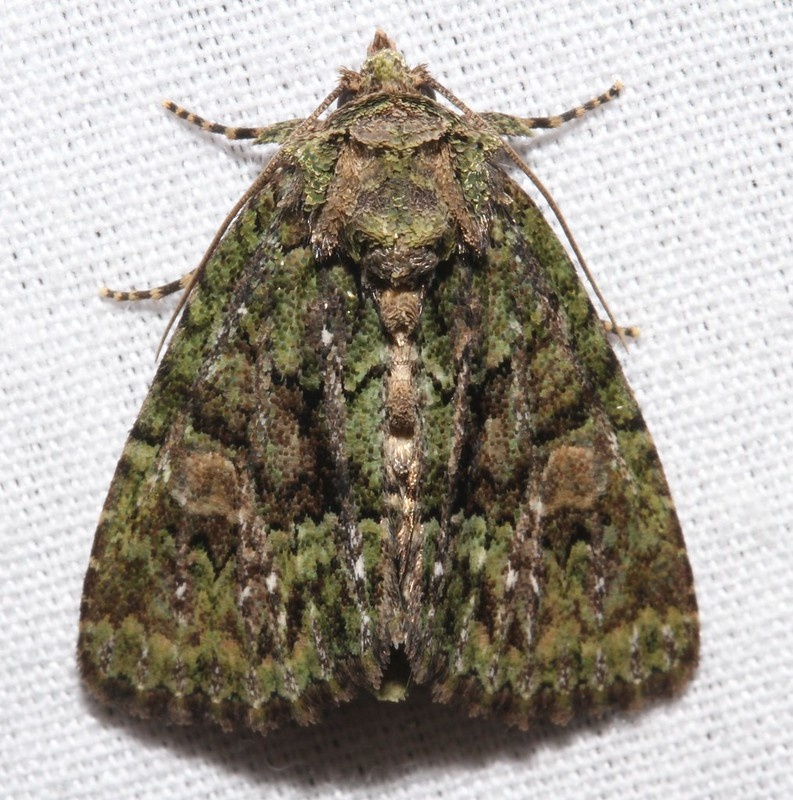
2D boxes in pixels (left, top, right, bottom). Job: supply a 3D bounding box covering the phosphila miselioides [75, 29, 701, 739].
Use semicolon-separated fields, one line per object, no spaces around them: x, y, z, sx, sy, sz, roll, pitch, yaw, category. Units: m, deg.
0.041;-0.003;3.688;0.977;0.371;1.486;0;87;-1;phosphila miselioides
